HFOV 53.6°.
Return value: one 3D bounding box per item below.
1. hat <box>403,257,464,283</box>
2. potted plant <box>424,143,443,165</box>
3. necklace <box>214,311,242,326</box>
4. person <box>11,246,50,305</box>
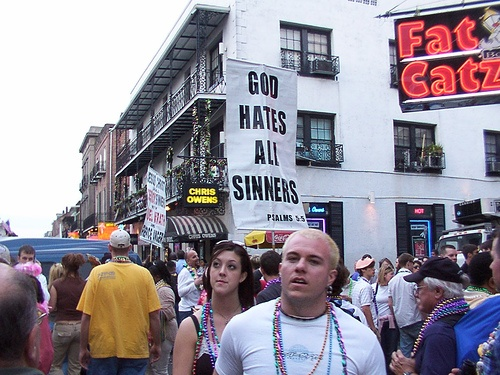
[{"bbox_3d":[1.836,0.853,4.922,0.573,0.322,0.375,-9,-24,34],"label":"hat"},{"bbox_3d":[7.962,-1.386,21.876,0.763,0.981,0.902,4,-5,-13],"label":"potted plant"},{"bbox_3d":[-0.263,1.298,4.864,0.269,0.150,0.366,-3,-8,-11],"label":"necklace"},{"bbox_3d":[-3.471,1.450,8.028,0.286,0.941,0.359,-15,2,-3],"label":"person"}]
